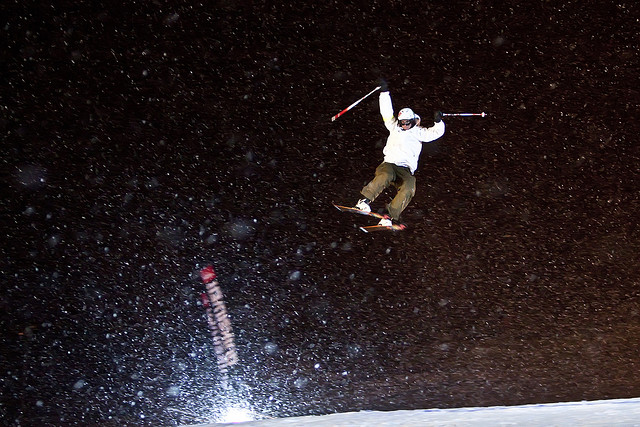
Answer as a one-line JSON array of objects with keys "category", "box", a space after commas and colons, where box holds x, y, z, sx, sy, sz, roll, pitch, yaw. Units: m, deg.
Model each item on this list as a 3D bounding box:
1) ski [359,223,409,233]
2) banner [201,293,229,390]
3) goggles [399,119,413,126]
[{"category": "ski", "box": [0.679, 0.157, 6.723, 0.651, 0.094, 0.080, -2, 0, 0]}, {"category": "banner", "box": [-1.247, 1.497, 7.439, 0.162, 1.198, 0.374, -16, -25, -13]}, {"category": "goggles", "box": [0.931, -0.995, 6.850, 0.136, 0.067, 0.057, -12, -21, 8]}]
